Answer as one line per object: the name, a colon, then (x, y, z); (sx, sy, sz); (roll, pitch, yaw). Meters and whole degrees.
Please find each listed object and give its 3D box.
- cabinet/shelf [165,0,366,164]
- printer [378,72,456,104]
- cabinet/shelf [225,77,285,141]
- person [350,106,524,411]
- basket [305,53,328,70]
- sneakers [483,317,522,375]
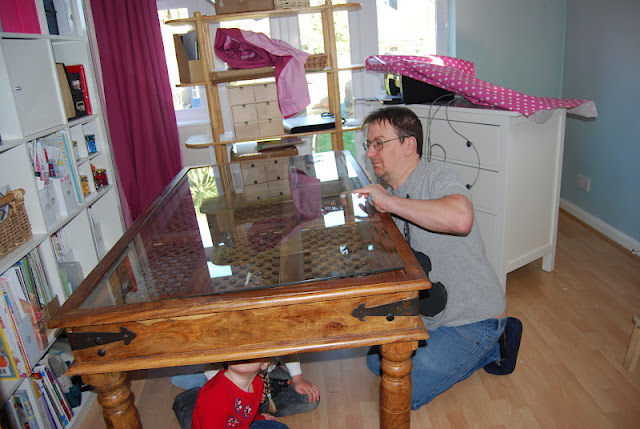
cabinet/shelf: (-0.445, -1.110, 3.631); (1.490, 1.340, 0.440); (-8, 20, -4)
printer: (0.728, -0.890, 3.229); (0.345, 0.172, 0.380); (-8, 25, -14)
cabinet/shelf: (-0.411, -0.837, 3.695); (0.596, 0.563, 0.410); (-9, 20, -4)
person: (0.640, 0.209, 2.382); (1.008, 1.440, 0.927); (1, -1, -13)
basket: (-0.023, -1.160, 3.420); (0.124, 0.071, 0.147); (-2, 11, -2)
sneakers: (0.983, 0.703, 2.410); (0.077, 0.309, 0.178); (16, -9, -43)
